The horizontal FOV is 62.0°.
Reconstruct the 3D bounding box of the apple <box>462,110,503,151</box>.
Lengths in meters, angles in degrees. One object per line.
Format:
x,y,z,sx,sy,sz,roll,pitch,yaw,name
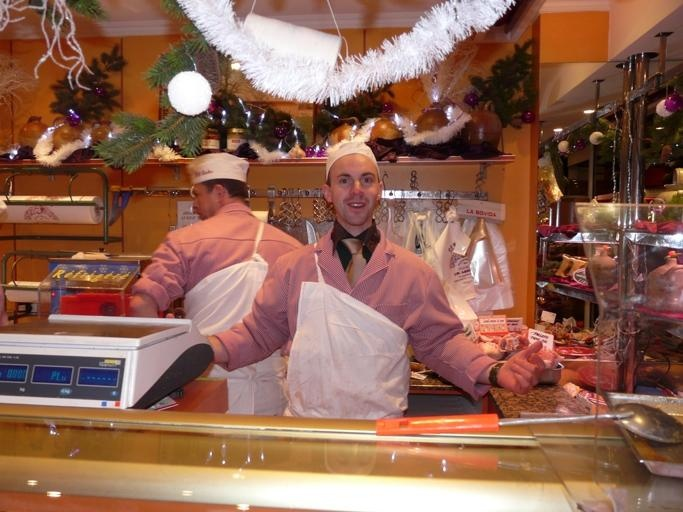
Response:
0.748,-0.660,3.091,0.209,0.258,0.219,-1,2,-4,apple

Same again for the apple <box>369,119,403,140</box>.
0.248,-0.686,3.186,0.133,0.185,0.134,1,3,25,apple

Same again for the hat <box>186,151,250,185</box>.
-0.612,-0.430,2.797,0.209,0.109,0.163,4,6,24,hat

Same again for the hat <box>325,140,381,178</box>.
0.027,-0.405,2.249,0.245,0.157,0.249,-4,2,0,hat

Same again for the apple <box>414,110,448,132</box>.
0.475,-0.723,3.039,0.128,0.123,0.130,-10,14,-40,apple

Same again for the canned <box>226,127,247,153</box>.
-0.605,-0.670,3.314,0.119,0.134,0.120,-4,6,-30,canned

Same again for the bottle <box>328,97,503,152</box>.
0.473,-0.671,3.115,0.562,0.229,0.441,-2,8,-11,bottle

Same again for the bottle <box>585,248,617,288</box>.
0.649,0.025,1.417,0.067,0.112,0.039,-1,0,12,bottle

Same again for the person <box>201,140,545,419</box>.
0.097,0.060,2.014,1.063,0.931,0.470,-1,0,17,person
